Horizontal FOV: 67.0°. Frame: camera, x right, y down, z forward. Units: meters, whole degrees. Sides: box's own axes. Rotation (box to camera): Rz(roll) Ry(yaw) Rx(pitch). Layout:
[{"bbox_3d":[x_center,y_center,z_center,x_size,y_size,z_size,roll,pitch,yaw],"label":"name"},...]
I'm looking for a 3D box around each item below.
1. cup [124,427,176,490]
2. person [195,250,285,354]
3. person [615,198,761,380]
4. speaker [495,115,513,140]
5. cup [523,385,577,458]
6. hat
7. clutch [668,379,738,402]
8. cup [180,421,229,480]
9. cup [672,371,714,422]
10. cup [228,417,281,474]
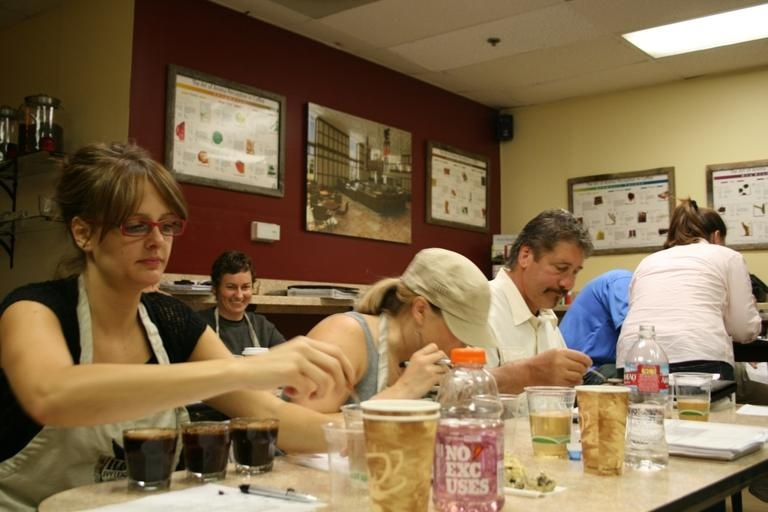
[{"bbox_3d":[-0.603,0.520,1.495,0.137,0.134,0.135,-2,-12,0],"label":"cup"},{"bbox_3d":[-1.236,0.400,4.701,0.984,0.764,0.443,5,-5,-35],"label":"person"},{"bbox_3d":[1.853,0.137,3.471,0.657,1.060,0.870,1,-1,38],"label":"person"},{"bbox_3d":[1.458,-1.553,6.971,0.220,0.321,0.183,1,-1,16],"label":"speaker"},{"bbox_3d":[0.524,0.520,1.815,0.176,0.202,0.177,3,-16,1],"label":"cup"},{"bbox_3d":[0.295,0.138,2.302,0.487,0.237,0.360,29,13,9],"label":"hat"},{"bbox_3d":[1.525,0.608,2.683,0.188,0.047,0.211,-4,2,40],"label":"clutch"},{"bbox_3d":[-0.477,0.527,1.560,0.127,0.132,0.122,-1,-17,0],"label":"cup"},{"bbox_3d":[1.269,0.587,2.369,0.152,0.199,0.152,3,-11,1],"label":"cup"},{"bbox_3d":[-0.364,0.531,1.634,0.139,0.124,0.146,0,-16,0],"label":"cup"}]
